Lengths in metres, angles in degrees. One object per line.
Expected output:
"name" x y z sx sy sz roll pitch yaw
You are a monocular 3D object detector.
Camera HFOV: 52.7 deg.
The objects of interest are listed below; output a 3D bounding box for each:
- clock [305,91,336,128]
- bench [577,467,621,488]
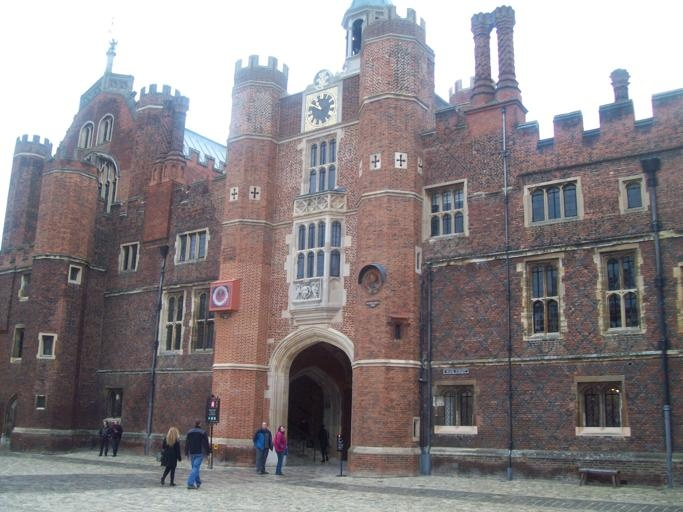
"clock" -0.867 -6.275 29.555 1.679 1.601 0.131 -12 -26 30
"bench" 7.978 6.796 21.366 1.192 0.505 0.758 -5 -16 19
